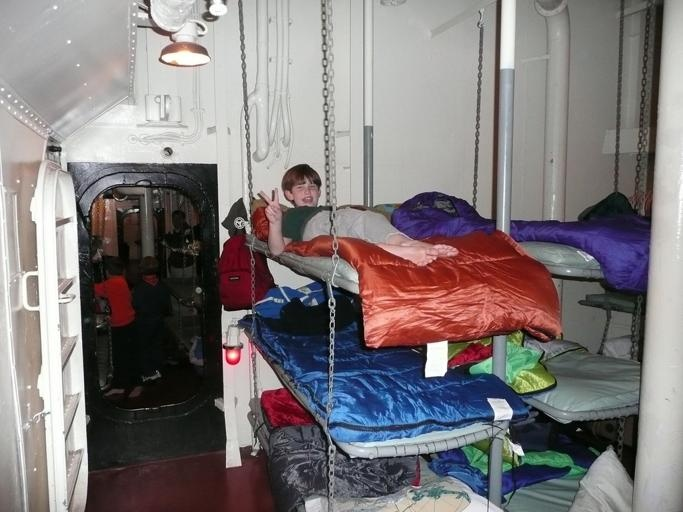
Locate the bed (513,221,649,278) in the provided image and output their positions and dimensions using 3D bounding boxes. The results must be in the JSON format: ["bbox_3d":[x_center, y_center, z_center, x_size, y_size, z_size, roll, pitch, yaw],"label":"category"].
[{"bbox_3d":[1.794,-0.097,4.180,0.912,0.296,1.156,9,17,12],"label":"bed"}]

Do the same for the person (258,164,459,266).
[{"bbox_3d":[0.027,-0.310,4.263,1.197,0.465,0.973,14,17,7],"label":"person"}]

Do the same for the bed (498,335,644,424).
[{"bbox_3d":[1.791,0.893,4.278,1.053,0.189,1.103,-8,15,-1],"label":"bed"}]

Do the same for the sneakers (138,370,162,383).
[{"bbox_3d":[-2.135,1.338,6.126,0.174,0.062,0.095,-13,31,-35],"label":"sneakers"}]

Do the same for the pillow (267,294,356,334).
[{"bbox_3d":[-0.238,0.537,4.848,0.623,0.226,0.372,-7,17,-15],"label":"pillow"}]

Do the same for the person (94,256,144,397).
[{"bbox_3d":[-2.407,0.833,5.895,0.383,1.203,0.497,-7,5,-21],"label":"person"}]

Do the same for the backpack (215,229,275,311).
[{"bbox_3d":[-0.899,0.157,5.241,0.465,0.657,0.681,-9,7,16],"label":"backpack"}]

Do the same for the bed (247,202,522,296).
[{"bbox_3d":[0.278,-0.062,3.708,0.830,0.197,0.835,1,21,-38],"label":"bed"}]

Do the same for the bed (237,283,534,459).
[{"bbox_3d":[0.083,0.713,4.196,1.317,0.444,2.199,1,13,-24],"label":"bed"}]

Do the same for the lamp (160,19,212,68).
[{"bbox_3d":[-1.238,-1.698,4.308,0.336,0.342,0.336,1,-14,-6],"label":"lamp"}]

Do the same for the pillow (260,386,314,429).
[{"bbox_3d":[-0.501,1.313,4.727,0.498,0.150,0.494,3,30,-19],"label":"pillow"}]
